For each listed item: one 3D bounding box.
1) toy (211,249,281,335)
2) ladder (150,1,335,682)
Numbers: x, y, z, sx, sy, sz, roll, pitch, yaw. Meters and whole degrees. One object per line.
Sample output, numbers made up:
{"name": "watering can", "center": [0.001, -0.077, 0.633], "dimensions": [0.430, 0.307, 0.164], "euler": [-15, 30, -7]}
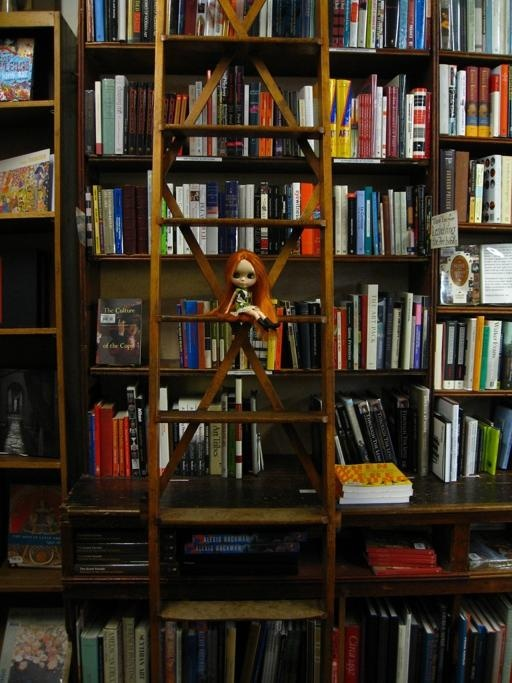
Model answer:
{"name": "toy", "center": [-0.087, -0.165, 2.380], "dimensions": [0.190, 0.276, 0.249], "euler": [-2, 2, -20]}
{"name": "ladder", "center": [-0.020, -0.072, 2.451], "dimensions": [0.661, 2.130, 0.981], "euler": [-1, -24, -2]}
